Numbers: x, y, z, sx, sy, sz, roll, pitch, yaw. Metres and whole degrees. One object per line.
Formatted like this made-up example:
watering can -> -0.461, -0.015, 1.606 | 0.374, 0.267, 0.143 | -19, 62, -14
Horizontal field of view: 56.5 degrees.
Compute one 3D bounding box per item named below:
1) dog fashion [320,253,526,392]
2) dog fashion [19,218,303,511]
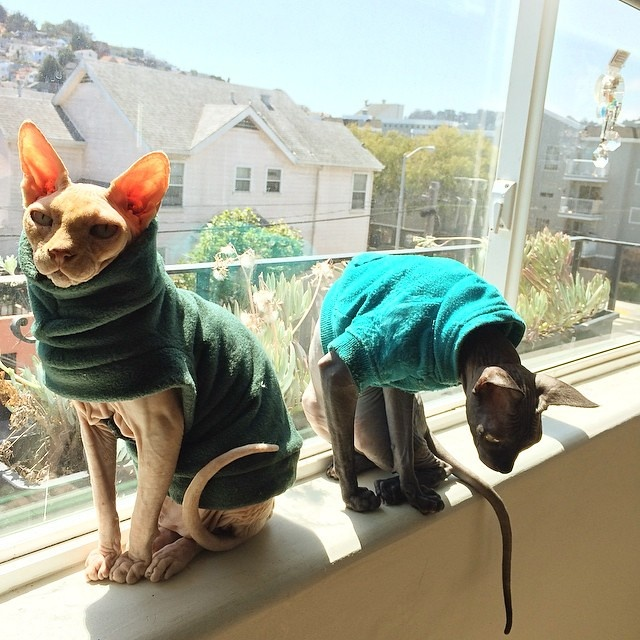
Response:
dog fashion -> 0.126, -0.004, 0.968 | 0.281, 0.129, 0.310 | -6, 13, -26
dog fashion -> -0.188, 0.077, 0.827 | 0.163, 0.425, 0.352 | 15, 19, 38
